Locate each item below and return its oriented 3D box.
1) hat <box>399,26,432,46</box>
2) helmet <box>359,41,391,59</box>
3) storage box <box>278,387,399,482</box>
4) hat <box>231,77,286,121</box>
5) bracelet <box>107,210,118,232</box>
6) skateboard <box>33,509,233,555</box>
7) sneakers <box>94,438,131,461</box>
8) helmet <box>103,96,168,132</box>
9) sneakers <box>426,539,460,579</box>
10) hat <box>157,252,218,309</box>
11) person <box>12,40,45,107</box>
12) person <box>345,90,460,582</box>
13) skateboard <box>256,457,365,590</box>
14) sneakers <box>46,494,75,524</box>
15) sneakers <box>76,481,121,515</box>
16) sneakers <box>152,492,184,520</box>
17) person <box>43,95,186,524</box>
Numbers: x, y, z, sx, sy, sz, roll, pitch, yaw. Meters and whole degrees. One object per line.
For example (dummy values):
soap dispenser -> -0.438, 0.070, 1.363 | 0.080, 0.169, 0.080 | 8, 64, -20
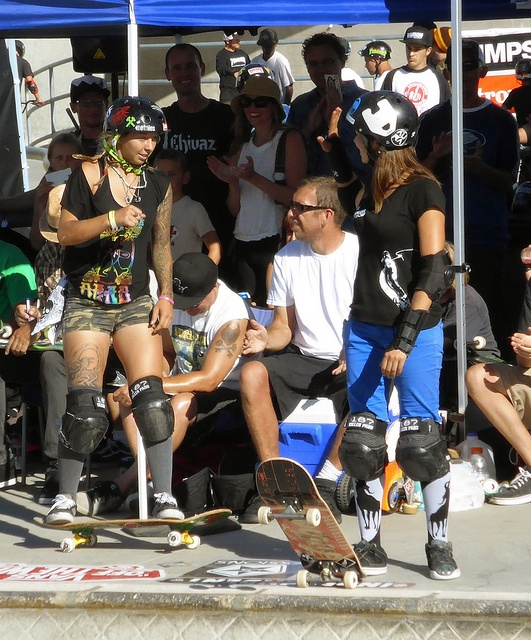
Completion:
hat -> 1.341, -2.519, 6.769 | 0.263, 0.126, 0.178 | 3, 17, -10
helmet -> 1.149, -2.981, 8.334 | 0.357, 0.160, 0.241 | 15, 16, 21
storage box -> 0.410, 0.575, 4.115 | 0.423, 0.318, 0.735 | 1, -6, 24
hat -> -0.020, -1.589, 5.355 | 0.323, 0.277, 0.218 | -1, 4, -10
bracelet -> -0.640, -0.412, 3.153 | 0.028, 0.066, 0.061 | -18, 9, -19
skateboard -> -0.536, 0.890, 3.268 | 1.080, 0.163, 0.286 | -3, -17, 9
sneakers -> -1.093, 0.915, 5.333 | 0.382, 0.134, 0.110 | 4, -6, 3
helmet -> -0.558, -0.871, 3.318 | 0.247, 0.121, 0.176 | 15, 13, 11
sneakers -> 0.643, 0.871, 2.776 | 0.119, 0.114, 0.159 | 1, 3, 9
hat -> -0.390, -0.185, 4.014 | 0.221, 0.287, 0.165 | 28, -26, 15
person -> -3.084, -3.329, 9.930 | 0.325, 1.033, 1.935 | -1, 3, -17
person -> 0.493, 0.018, 2.844 | 0.428, 1.810, 0.389 | 0, 4, 5
skateboard -> 0.194, 0.751, 2.717 | 0.253, 0.605, 0.127 | -7, 41, 43
sneakers -> -0.861, 0.789, 3.181 | 0.126, 0.109, 0.151 | -1, 3, -14
sneakers -> -0.908, 0.922, 3.924 | 0.112, 0.137, 0.340 | 38, 12, 24
sneakers -> -0.416, 0.802, 3.246 | 0.120, 0.117, 0.183 | -1, 3, -12
person -> -0.686, -0.070, 3.390 | 0.554, 1.838, 0.616 | -1, 4, -10
